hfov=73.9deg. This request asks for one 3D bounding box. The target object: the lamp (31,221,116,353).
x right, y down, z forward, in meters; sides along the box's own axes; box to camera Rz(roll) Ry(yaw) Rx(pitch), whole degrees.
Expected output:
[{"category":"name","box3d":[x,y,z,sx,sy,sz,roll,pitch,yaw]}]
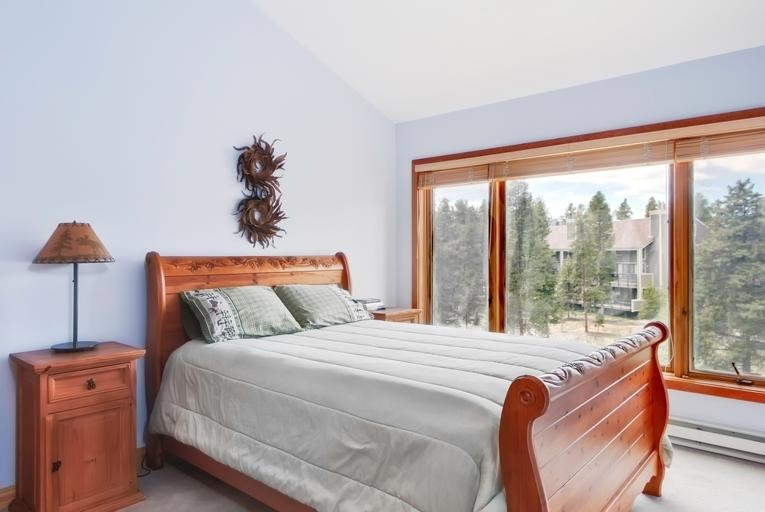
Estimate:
[{"category":"lamp","box3d":[-2.129,0.209,3.548,0.442,0.884,0.395,-9,12,-33]}]

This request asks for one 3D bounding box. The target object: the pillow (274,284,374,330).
[{"category":"pillow","box3d":[-0.570,0.413,4.659,0.912,0.188,0.918,3,20,-23]}]
